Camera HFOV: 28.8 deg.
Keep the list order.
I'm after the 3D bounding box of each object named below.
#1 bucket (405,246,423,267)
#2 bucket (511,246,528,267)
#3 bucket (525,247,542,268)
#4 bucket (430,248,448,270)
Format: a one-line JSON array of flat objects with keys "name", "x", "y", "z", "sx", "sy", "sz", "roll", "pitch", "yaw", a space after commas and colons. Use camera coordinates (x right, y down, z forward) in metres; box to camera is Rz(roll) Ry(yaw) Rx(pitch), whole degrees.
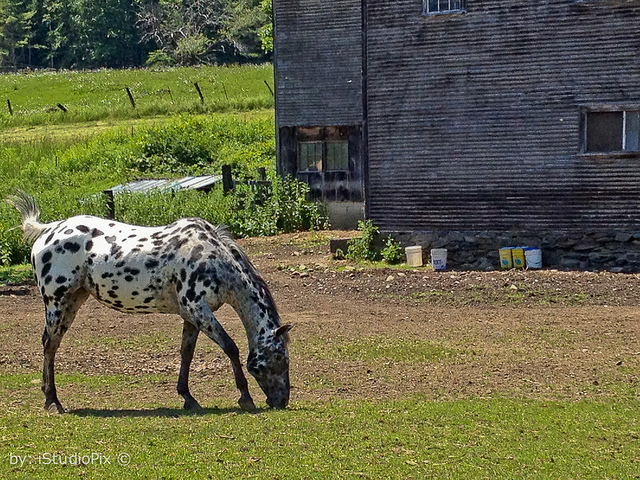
[{"name": "bucket", "x": 2.542, "y": 0.484, "z": 33.258, "sx": 0.473, "sy": 0.474, "sz": 0.486, "roll": -1, "pitch": 1, "yaw": 0}, {"name": "bucket", "x": 5.219, "y": 0.467, "z": 32.243, "sx": 0.410, "sy": 0.664, "sz": 0.428, "roll": -1, "pitch": -2, "yaw": 0}, {"name": "bucket", "x": 5.579, "y": 0.481, "z": 32.098, "sx": 0.465, "sy": 0.463, "sz": 0.445, "roll": -1, "pitch": 1, "yaw": 0}, {"name": "bucket", "x": 3.187, "y": 0.537, "z": 32.751, "sx": 0.451, "sy": 0.518, "sz": 0.469, "roll": 1, "pitch": 4, "yaw": 0}]
